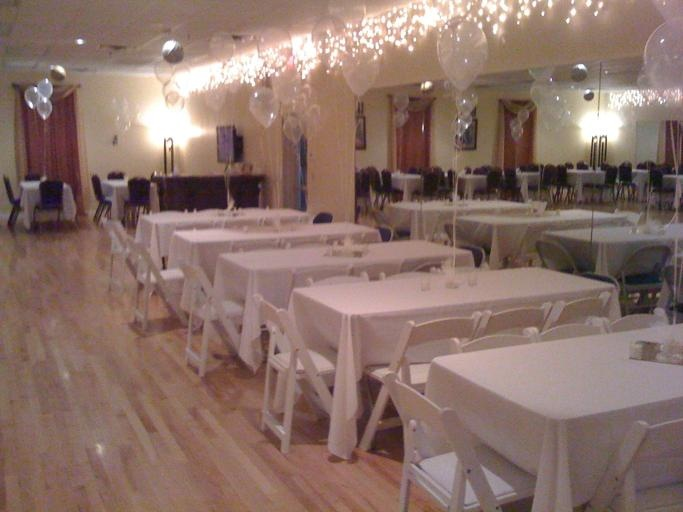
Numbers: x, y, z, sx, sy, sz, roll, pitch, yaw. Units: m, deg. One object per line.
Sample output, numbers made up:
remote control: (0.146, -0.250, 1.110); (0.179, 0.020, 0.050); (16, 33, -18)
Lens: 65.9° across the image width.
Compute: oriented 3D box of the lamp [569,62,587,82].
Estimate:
lamp: (2.450, -1.887, 5.427); (0.050, 0.179, 0.198); (-6, 13, -28)

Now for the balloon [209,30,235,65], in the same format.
balloon: (-1.806, -3.090, 7.803); (0.315, 0.492, 0.382); (2, 23, -1)

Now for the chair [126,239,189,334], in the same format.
chair: (-2.028, 0.307, 5.882); (0.513, 1.003, 0.645); (7, 8, 40)

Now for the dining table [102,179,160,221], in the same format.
dining table: (-5.589, -1.561, 13.523); (1.284, 0.726, 1.051); (18, 23, 40)

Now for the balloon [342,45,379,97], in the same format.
balloon: (0.152, -1.741, 5.334); (0.274, 0.442, 0.313); (16, -20, 19)

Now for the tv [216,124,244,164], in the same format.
tv: (-2.996, -3.011, 14.169); (0.282, 1.047, 0.973); (5, 13, 12)

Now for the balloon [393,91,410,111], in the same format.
balloon: (0.871, -2.259, 7.731); (0.107, 0.290, 0.254); (-7, -11, -35)

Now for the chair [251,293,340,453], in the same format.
chair: (-0.278, 0.797, 3.701); (0.598, 0.935, 0.584); (1, 5, -23)

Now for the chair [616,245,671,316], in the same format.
chair: (2.916, 0.220, 5.190); (0.529, 0.857, 0.625); (3, -13, 34)

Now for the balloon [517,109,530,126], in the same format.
balloon: (2.050, -1.574, 5.935); (0.043, 0.154, 0.176); (-4, 12, -21)

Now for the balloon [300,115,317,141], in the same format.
balloon: (-0.518, -2.137, 8.701); (0.315, 0.346, 0.202); (-9, 15, -40)

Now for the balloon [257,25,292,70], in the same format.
balloon: (-0.839, -2.619, 6.617); (0.420, 0.651, 0.465); (5, 10, 20)

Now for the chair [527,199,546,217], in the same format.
chair: (2.205, -0.545, 5.946); (0.150, 0.139, 0.138); (-16, 23, -42)

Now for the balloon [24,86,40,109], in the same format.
balloon: (-7.486, -3.873, 12.750); (0.228, 0.440, 0.667); (-9, 15, -41)

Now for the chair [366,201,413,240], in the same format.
chair: (0.704, -0.552, 7.846); (0.462, 0.776, 0.492); (-9, 19, -21)

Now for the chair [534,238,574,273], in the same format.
chair: (2.256, -0.009, 5.617); (0.343, 0.537, 0.278); (-24, 25, -40)

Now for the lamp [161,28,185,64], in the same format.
lamp: (-2.631, -3.270, 8.164); (0.266, 0.525, 0.620); (-5, 13, -23)

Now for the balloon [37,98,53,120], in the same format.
balloon: (-7.203, -3.607, 12.764); (0.260, 0.447, 0.349); (-4, 12, -22)

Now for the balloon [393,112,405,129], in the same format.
balloon: (0.842, -1.992, 7.663); (0.082, 0.230, 0.208); (21, 33, 38)
